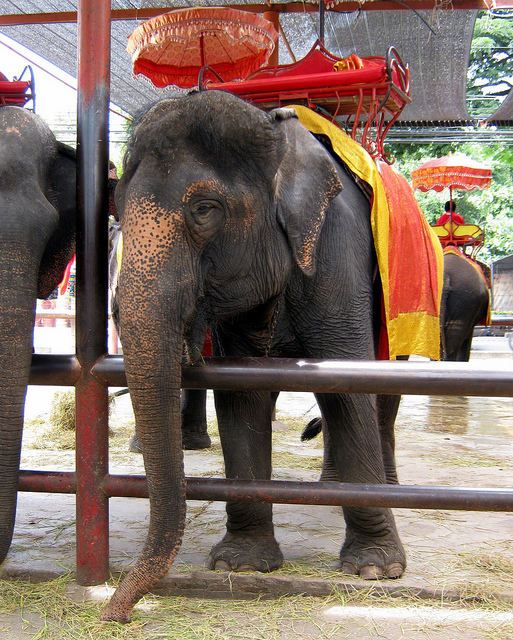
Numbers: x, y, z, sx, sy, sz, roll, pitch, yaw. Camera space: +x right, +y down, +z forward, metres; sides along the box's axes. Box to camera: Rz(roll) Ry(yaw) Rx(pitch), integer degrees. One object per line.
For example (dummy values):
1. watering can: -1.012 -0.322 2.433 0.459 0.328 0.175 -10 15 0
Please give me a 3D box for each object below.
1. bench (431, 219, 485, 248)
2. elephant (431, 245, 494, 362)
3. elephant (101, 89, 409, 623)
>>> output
1. bench: 1.349 -0.573 4.878 0.322 0.167 0.314 2 0 16
2. elephant: 1.380 -0.045 5.112 0.596 0.815 1.407 0 -4 15
3. elephant: 0.043 -0.007 1.558 0.595 1.063 0.764 2 0 12
